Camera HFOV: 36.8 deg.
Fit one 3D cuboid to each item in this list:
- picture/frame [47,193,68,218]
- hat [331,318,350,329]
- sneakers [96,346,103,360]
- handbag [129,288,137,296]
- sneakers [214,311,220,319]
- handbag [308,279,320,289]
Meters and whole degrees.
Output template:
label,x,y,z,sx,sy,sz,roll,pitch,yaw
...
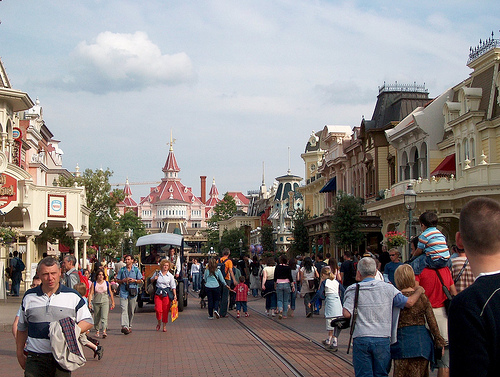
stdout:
label,x,y,z,sx,sy,sz,roll,pitch,yaw
picture/frame,-8.937,0.761,34.708,0.158,1.141,1.106,-4,-4,33
hat,1.267,1.882,10.469,0.262,0.171,0.694,-2,-8,7
sneakers,-2.820,3.080,14.115,0.112,0.264,0.093,-4,4,-9
handbag,-2.864,2.541,18.390,0.180,0.181,0.082,1,-6,-25
sneakers,-0.967,3.752,22.215,0.096,0.279,0.108,-21,30,5
handbag,1.953,2.918,22.958,0.403,0.318,0.235,-1,7,-4
